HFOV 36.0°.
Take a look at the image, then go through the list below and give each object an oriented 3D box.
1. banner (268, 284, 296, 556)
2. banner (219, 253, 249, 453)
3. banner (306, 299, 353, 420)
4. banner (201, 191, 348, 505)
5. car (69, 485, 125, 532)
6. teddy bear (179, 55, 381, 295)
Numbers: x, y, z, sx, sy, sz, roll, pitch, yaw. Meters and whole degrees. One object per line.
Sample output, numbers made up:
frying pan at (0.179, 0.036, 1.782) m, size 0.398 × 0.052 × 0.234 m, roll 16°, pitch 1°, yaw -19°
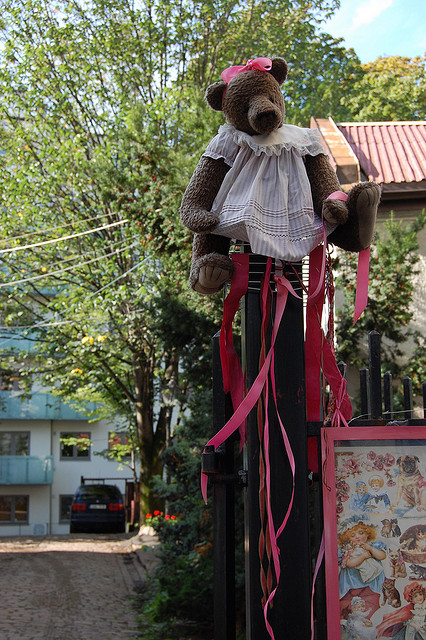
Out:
banner at (0.186, 0.320, 1.853) m, size 0.069 × 0.640 × 0.149 m, roll 13°, pitch -17°, yaw -39°
banner at (0.059, 0.051, 1.977) m, size 0.094 × 0.478 × 0.173 m, roll -1°, pitch -2°, yaw -10°
banner at (0.368, 0.127, 2.072) m, size 0.120 × 0.383 × 0.137 m, roll 2°, pitch -3°, yaw -14°
banner at (0.150, 0.053, 1.860) m, size 0.357 × 0.793 × 0.342 m, roll 4°, pitch -6°, yaw -14°
car at (-2.784, 4.559, 15.809) m, size 0.809 × 0.686 × 1.534 m, roll 1°, pitch -8°, yaw -4°
teddy bear at (0.160, -0.426, 1.963) m, size 0.631 × 0.726 × 0.272 m, roll 0°, pitch 2°, yaw -4°
